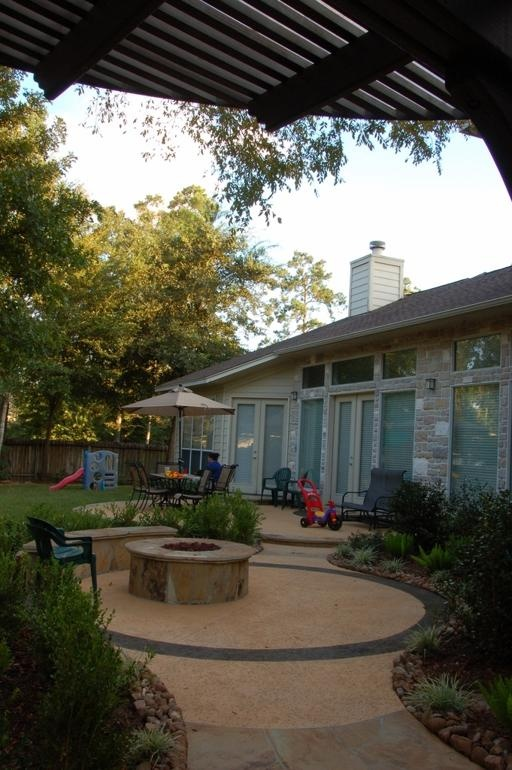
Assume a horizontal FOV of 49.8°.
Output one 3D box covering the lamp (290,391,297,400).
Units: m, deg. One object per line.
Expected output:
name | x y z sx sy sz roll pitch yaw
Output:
lamp | 1.015 0.296 14.710 0.194 0.242 0.191 -1 2 -8

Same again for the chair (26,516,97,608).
chair | -1.526 1.277 4.377 0.508 0.462 1.698 5 -8 -17

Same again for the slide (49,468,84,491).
slide | -6.481 3.237 18.789 0.238 0.534 1.361 30 44 35

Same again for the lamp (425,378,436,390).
lamp | 3.135 -0.008 9.977 0.097 0.221 0.206 6 -8 -25

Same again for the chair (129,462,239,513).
chair | -1.663 2.222 12.019 2.036 0.974 3.505 4 -7 -12
